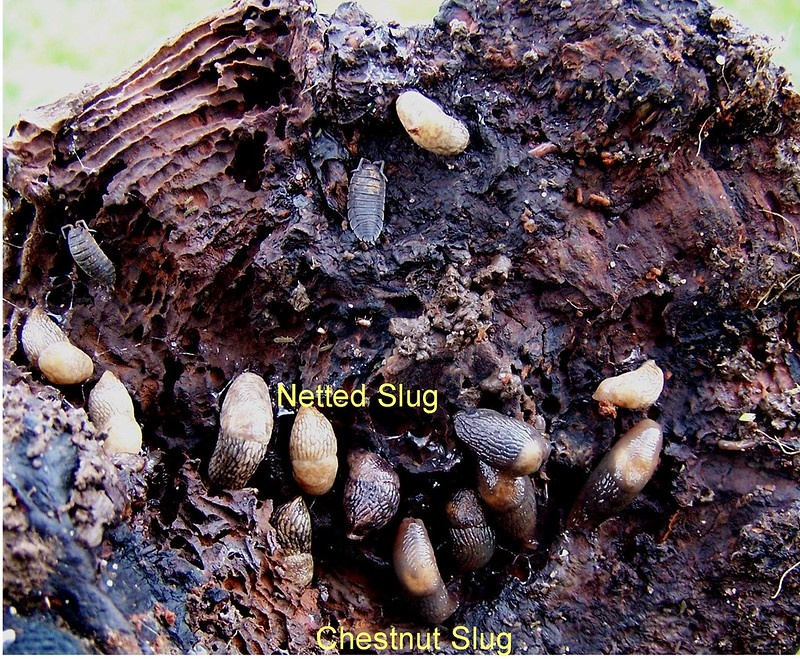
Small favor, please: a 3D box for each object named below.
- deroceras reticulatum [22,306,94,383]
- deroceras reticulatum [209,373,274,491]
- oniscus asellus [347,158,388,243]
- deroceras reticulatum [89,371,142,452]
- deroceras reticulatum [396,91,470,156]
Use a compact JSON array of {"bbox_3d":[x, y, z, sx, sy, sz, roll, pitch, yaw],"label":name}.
[{"bbox_3d":[-1.704,0.042,3.811,0.289,0.453,0.188,-27,-20,-50],"label":"deroceras reticulatum"},{"bbox_3d":[-0.740,0.444,3.856,0.314,0.507,0.426,-6,22,-8],"label":"deroceras reticulatum"},{"bbox_3d":[-0.149,-0.647,3.792,0.198,0.460,0.071,5,-25,-12],"label":"oniscus asellus"},{"bbox_3d":[-1.371,0.438,3.754,0.192,0.425,0.142,-15,-12,-19],"label":"deroceras reticulatum"},{"bbox_3d":[0.160,-0.934,3.671,0.199,0.375,0.180,-35,31,27],"label":"deroceras reticulatum"}]
